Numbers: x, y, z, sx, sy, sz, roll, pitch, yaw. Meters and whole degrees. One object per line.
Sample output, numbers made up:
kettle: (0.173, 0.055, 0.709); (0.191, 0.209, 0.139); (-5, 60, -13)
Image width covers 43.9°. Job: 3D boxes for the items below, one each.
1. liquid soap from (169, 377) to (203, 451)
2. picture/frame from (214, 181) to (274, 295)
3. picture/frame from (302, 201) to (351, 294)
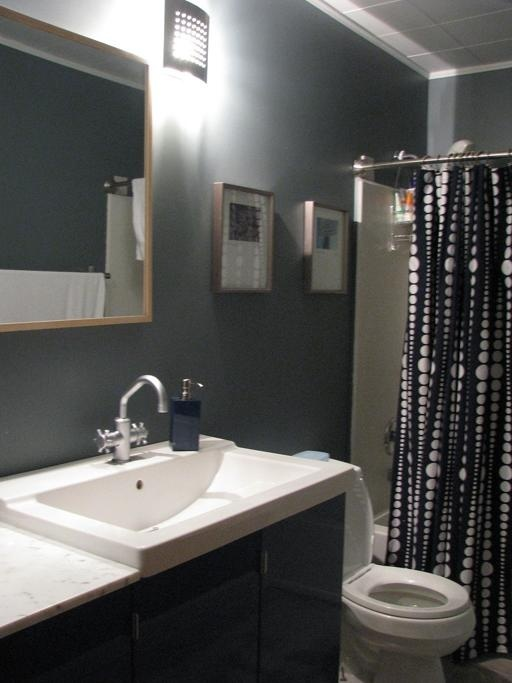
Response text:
liquid soap: (-0.184, 0.192, 1.665); (0.091, 0.180, 0.085); (-2, 7, -39)
picture/frame: (-0.046, -0.331, 2.011); (0.043, 0.444, 0.368); (2, 3, 29)
picture/frame: (0.276, -0.353, 2.473); (0.033, 0.344, 0.344); (3, 6, 31)
